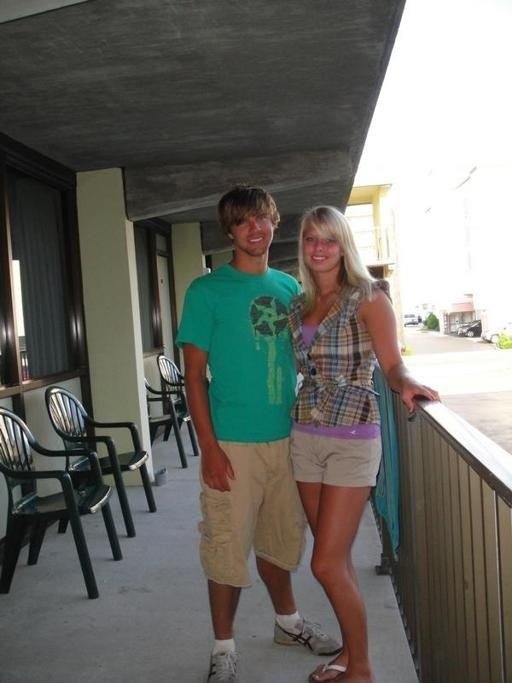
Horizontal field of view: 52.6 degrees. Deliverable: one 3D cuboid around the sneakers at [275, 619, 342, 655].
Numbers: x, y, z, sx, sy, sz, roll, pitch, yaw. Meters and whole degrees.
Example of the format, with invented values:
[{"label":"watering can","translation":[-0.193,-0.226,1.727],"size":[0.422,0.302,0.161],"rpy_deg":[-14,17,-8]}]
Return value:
[{"label":"sneakers","translation":[0.189,1.054,1.912],"size":[0.218,0.095,0.094],"rpy_deg":[3,-6,32]}]
